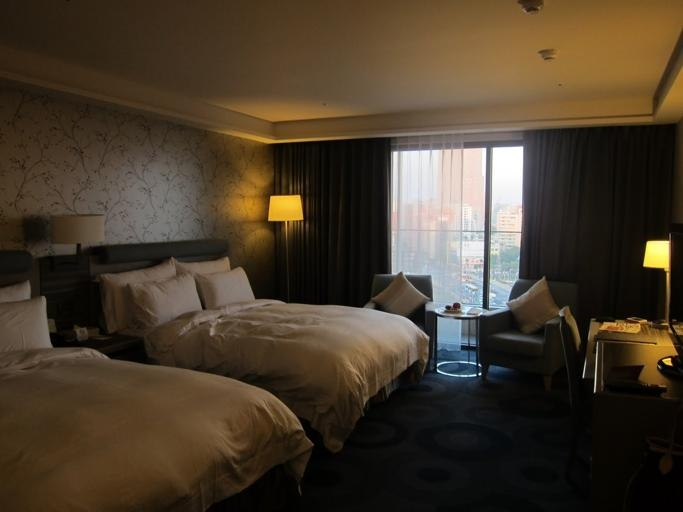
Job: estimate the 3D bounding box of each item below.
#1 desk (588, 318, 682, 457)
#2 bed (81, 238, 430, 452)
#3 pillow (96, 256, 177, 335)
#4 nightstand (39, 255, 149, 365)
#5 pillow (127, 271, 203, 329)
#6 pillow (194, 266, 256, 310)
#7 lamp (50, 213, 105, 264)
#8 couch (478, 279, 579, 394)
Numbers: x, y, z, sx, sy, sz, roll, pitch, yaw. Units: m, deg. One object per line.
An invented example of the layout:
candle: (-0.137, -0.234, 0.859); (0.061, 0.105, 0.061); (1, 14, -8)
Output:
desk: (1.852, 0.858, 3.151); (0.375, 0.245, 1.004); (0, 1, 23)
bed: (-0.794, 0.723, 4.905); (2.575, 1.461, 1.857); (1, 3, 29)
pillow: (-2.061, 0.418, 4.926); (0.184, 0.473, 0.668); (-14, -1, 29)
nightstand: (-2.313, 0.495, 4.981); (0.925, 1.335, 0.908); (0, 3, 23)
pillow: (-1.793, 0.452, 4.970); (0.151, 0.296, 0.493); (-27, -10, 32)
pillow: (-1.322, 0.349, 5.648); (0.149, 0.414, 0.573); (-31, -15, 30)
lamp: (-2.400, -0.188, 4.562); (0.324, 0.385, 0.339); (1, -2, -6)
couch: (1.976, 0.823, 5.729); (0.935, 1.469, 1.110); (-1, -4, 39)
